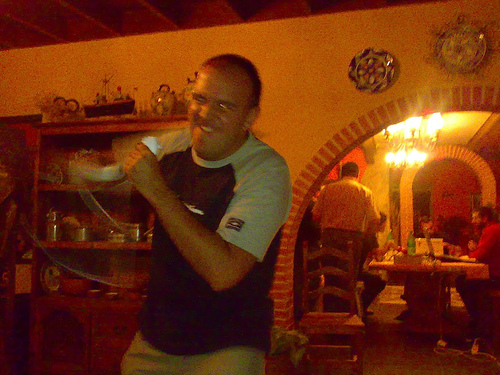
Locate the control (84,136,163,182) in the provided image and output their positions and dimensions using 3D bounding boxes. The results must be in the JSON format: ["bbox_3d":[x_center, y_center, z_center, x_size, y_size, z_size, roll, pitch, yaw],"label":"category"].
[{"bbox_3d":[-0.712,-0.162,2.443,0.715,0.226,0.173,-8,-18,42],"label":"control"}]

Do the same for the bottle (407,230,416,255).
[{"bbox_3d":[2.279,0.795,6.005,0.098,0.353,0.456,-1,-14,21],"label":"bottle"}]

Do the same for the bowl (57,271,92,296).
[{"bbox_3d":[-2.035,1.105,4.772,0.396,0.235,0.363,3,1,0],"label":"bowl"}]

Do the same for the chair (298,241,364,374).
[{"bbox_3d":[0.921,1.361,4.918,0.654,1.411,1.733,2,-14,11],"label":"chair"}]

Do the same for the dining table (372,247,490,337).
[{"bbox_3d":[2.463,1.435,6.042,1.318,0.860,1.293,0,10,-8],"label":"dining table"}]

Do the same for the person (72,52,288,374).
[{"bbox_3d":[-0.222,0.156,2.165,0.817,1.633,0.458,4,-13,4],"label":"person"}]
